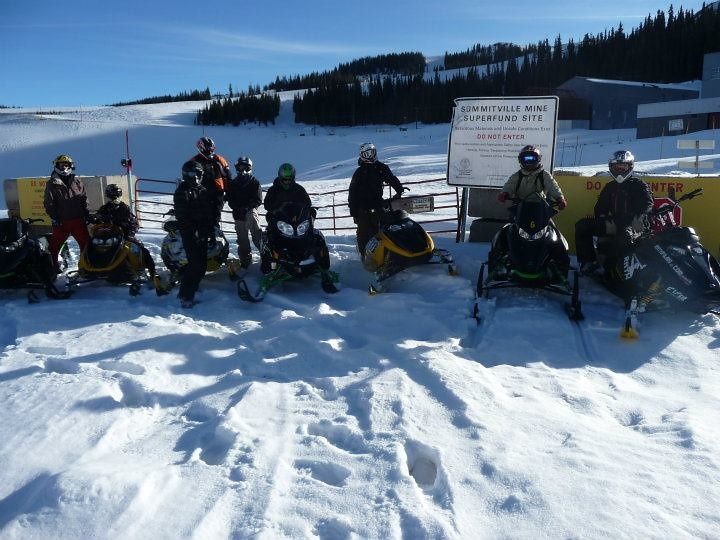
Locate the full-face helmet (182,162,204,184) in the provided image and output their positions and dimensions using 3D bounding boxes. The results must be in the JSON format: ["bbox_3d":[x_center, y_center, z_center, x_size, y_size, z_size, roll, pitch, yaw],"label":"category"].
[{"bbox_3d":[-2.636,-1.501,9.392,0.302,0.371,0.377,-8,18,-14],"label":"full-face helmet"}]

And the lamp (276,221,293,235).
[{"bbox_3d":[-1.159,-0.635,9.289,0.274,0.206,0.113,2,18,16],"label":"lamp"}]

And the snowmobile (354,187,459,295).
[{"bbox_3d":[0.621,-0.507,10.395,1.108,1.036,2.138,-20,21,-1],"label":"snowmobile"}]

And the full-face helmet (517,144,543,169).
[{"bbox_3d":[2.715,-1.769,9.630,0.307,0.393,0.394,0,-7,18],"label":"full-face helmet"}]

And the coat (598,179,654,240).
[{"bbox_3d":[4.098,-0.998,9.367,0.884,1.160,0.803,-1,-4,39],"label":"coat"}]

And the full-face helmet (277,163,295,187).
[{"bbox_3d":[-1.343,-1.764,10.784,0.304,0.371,0.407,-3,46,-14],"label":"full-face helmet"}]

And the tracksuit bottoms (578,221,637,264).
[{"bbox_3d":[3.624,-0.433,9.276,0.586,0.668,0.218,8,4,21],"label":"tracksuit bottoms"}]

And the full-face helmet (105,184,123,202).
[{"bbox_3d":[-4.236,-1.325,10.404,0.266,0.349,0.311,-8,5,-40],"label":"full-face helmet"}]

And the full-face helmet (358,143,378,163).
[{"bbox_3d":[0.141,-2.153,11.025,0.288,0.409,0.381,-2,6,0],"label":"full-face helmet"}]

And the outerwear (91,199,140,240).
[{"bbox_3d":[-4.102,-0.881,10.086,0.551,0.776,0.313,-21,9,-20],"label":"outerwear"}]

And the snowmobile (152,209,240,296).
[{"bbox_3d":[-2.736,-0.317,10.386,0.796,1.066,1.735,1,4,3],"label":"snowmobile"}]

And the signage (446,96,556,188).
[{"bbox_3d":[2.565,-2.298,10.724,1.591,1.506,0.183,5,8,25],"label":"signage"}]

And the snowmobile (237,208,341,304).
[{"bbox_3d":[-1.042,-0.333,9.412,1.014,1.043,1.872,-4,12,-11],"label":"snowmobile"}]

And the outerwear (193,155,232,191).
[{"bbox_3d":[-2.730,-1.775,11.214,0.644,0.776,0.415,-12,23,-16],"label":"outerwear"}]

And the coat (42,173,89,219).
[{"bbox_3d":[-5.100,-1.253,10.346,0.655,0.792,0.522,-13,20,-29],"label":"coat"}]

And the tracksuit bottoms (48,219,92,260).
[{"bbox_3d":[-5.082,-0.532,10.494,0.631,1.022,0.299,6,-17,-40],"label":"tracksuit bottoms"}]

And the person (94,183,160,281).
[{"bbox_3d":[-4.247,-0.649,10.614,0.835,1.168,1.973,-9,-9,-10],"label":"person"}]

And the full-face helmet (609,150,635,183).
[{"bbox_3d":[4.016,-1.594,9.245,0.328,0.488,0.290,5,19,24],"label":"full-face helmet"}]

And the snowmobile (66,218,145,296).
[{"bbox_3d":[-4.232,-0.201,10.056,1.343,1.166,1.926,3,11,-15],"label":"snowmobile"}]

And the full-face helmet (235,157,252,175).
[{"bbox_3d":[-2.108,-1.870,10.810,0.260,0.329,0.344,-1,4,-13],"label":"full-face helmet"}]

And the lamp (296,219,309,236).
[{"bbox_3d":[-0.891,-0.657,9.347,0.087,0.202,0.280,9,22,36],"label":"lamp"}]
